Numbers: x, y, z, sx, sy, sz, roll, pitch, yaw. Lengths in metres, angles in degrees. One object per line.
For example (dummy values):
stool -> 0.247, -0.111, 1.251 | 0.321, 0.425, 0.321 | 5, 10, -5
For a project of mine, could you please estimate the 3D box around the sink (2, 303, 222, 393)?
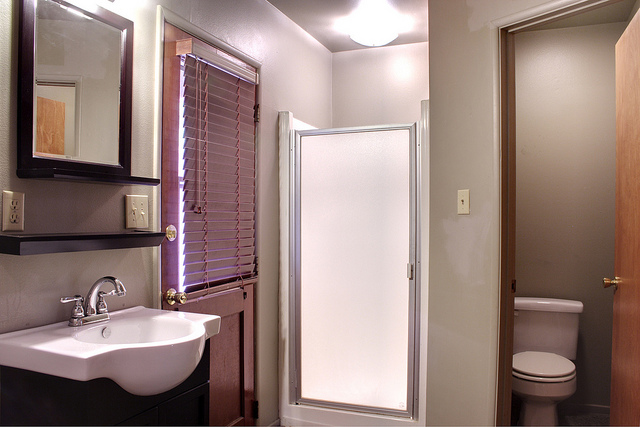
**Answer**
sink -> -0.966, 0.605, 2.101 | 0.465, 0.230, 0.531 | 3, 2, 25

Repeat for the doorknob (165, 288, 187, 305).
doorknob -> -0.816, 0.467, 2.644 | 0.082, 0.075, 0.080 | 1, 7, 21

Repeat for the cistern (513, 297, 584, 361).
cistern -> 1.319, 0.660, 2.803 | 0.439, 0.345, 0.254 | 2, 2, 9

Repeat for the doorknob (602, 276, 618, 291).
doorknob -> 1.586, 0.383, 2.548 | 0.088, 0.059, 0.064 | -4, -21, -6
